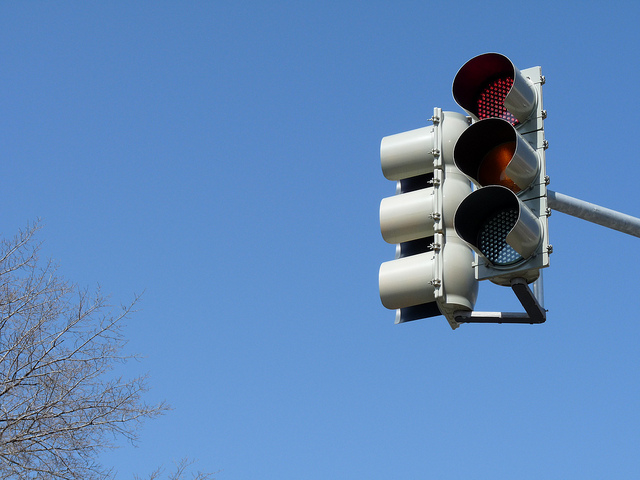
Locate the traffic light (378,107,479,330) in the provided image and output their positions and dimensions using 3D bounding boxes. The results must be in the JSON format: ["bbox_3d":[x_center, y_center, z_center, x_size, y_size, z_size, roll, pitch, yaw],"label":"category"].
[{"bbox_3d":[1.333,-0.206,12.920,0.999,2.717,0.900,-8,-32,16],"label":"traffic light"}]
